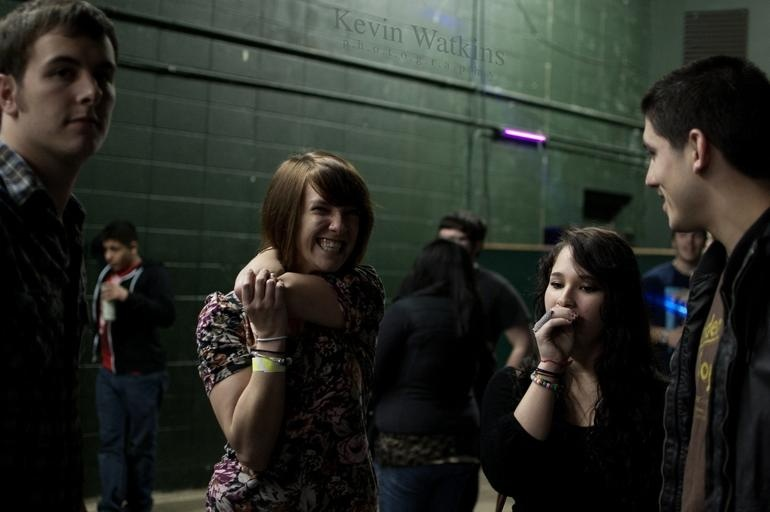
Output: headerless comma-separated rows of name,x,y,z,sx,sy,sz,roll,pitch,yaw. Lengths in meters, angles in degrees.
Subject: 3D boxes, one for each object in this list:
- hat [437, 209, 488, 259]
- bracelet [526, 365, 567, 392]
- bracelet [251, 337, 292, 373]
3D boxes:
hat,0.425,-0.126,3.529,0.198,0.253,0.259,7,1,26
bracelet,0.614,0.459,2.527,0.096,0.049,0.085,12,-5,26
bracelet,-0.394,0.343,2.308,0.121,0.124,0.100,2,-8,5
